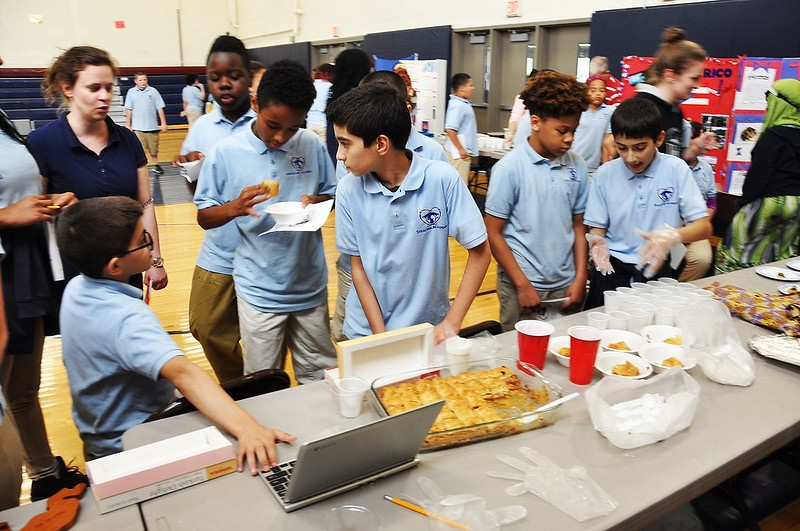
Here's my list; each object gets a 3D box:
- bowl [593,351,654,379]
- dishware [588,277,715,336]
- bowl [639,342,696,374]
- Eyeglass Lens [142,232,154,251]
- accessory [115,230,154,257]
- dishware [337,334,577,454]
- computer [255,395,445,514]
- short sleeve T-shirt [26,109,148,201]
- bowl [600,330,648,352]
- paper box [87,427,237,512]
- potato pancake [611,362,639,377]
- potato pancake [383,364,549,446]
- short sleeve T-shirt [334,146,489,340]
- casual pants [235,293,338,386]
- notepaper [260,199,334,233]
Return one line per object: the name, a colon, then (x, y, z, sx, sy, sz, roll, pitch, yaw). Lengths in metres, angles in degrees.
bowl: (0.887, 0.398, 1.994, 0.128, 0.030, 0.125, 1, 24, 0)
dishware: (1.172, 0.175, 2.344, 0.489, 0.097, 0.299, -9, 13, -31)
bowl: (1.091, 0.379, 2.052, 0.155, 0.045, 0.139, 0, 26, -8)
Eyeglass Lens: (-1.038, -0.105, 2.055, 0.052, 0.061, 0.021, -8, 6, -26)
accessory: (-1.064, -0.090, 2.007, 0.110, 0.028, 0.096, -14, 26, -16)
dishware: (0.179, 0.477, 1.770, 0.779, 0.102, 0.390, -6, 19, -20)
computer: (-0.197, 0.574, 1.630, 0.527, 0.242, 0.456, -5, 6, -17)
short sleeve T-shirt: (-1.691, -0.564, 2.703, 0.465, 0.482, 0.303, -16, 26, -29)
bowl: (0.950, 0.325, 2.141, 0.119, 0.040, 0.118, 2, 24, -1)
paper box: (-0.738, 0.629, 1.579, 0.418, 0.113, 0.149, -11, 23, -22)
potato pancake: (0.892, 0.407, 1.975, 0.098, 0.027, 0.090, 13, 25, 35)
potato pancake: (0.257, 0.488, 1.803, 0.524, 0.068, 0.263, -5, 20, -15)
short sleeve T-shirt: (0.058, -0.106, 2.318, 0.696, 0.796, 0.295, -6, 24, -7)
casual pants: (-0.628, 0.395, 2.732, 0.513, 0.568, 0.210, -11, 38, -18)
notepaper: (-0.511, -0.258, 2.547, 0.231, 0.064, 0.222, -14, 24, -16)
